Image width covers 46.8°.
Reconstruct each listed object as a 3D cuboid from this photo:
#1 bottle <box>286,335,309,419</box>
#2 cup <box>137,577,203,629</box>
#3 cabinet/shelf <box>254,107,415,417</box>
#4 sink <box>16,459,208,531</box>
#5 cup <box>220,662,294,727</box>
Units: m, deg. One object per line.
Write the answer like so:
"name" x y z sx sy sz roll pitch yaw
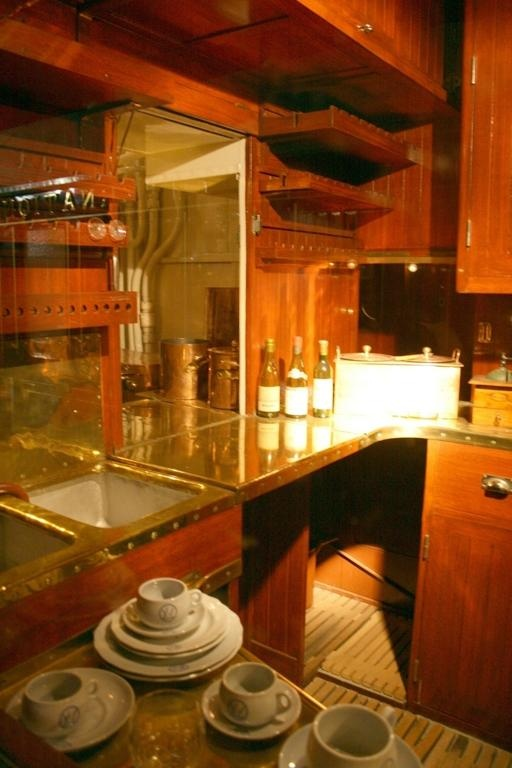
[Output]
"bottle" 0.142 -0.024 2.086 0.072 0.274 0.200 1 9 3
"cup" -0.122 0.290 0.787 0.048 0.031 0.064 0 -5 14
"cabinet/shelf" 0.296 -0.488 2.277 0.315 1.084 1.068 3 8 20
"sink" -0.412 0.251 1.365 0.204 0.090 0.250 10 12 34
"cup" 0.006 0.312 0.606 0.049 0.039 0.066 -6 18 -24
